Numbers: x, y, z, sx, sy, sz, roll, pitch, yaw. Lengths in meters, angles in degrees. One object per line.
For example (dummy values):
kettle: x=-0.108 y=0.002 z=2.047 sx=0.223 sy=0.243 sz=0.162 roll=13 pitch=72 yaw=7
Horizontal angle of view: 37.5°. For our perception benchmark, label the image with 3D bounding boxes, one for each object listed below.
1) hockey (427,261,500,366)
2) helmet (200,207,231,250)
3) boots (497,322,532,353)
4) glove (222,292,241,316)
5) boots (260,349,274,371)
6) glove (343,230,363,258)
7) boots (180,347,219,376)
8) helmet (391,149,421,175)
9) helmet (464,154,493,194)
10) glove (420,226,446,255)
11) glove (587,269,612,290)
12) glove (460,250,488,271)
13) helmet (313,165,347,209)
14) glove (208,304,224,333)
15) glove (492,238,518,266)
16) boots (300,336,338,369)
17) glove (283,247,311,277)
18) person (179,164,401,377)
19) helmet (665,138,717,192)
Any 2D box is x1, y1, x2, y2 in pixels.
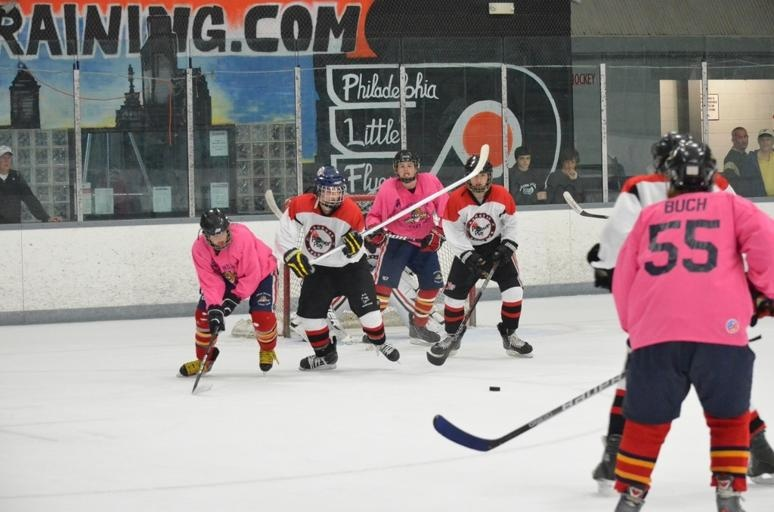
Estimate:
hockey: x=0.612 y=0.483 z=9.185 sx=0.180 sy=0.874 sz=0.144 roll=36 pitch=-22 yaw=4
helmet: x=-1.221 y=-0.184 z=8.220 sx=0.206 sy=0.292 sz=0.153 roll=-1 pitch=7 yaw=-10
boots: x=1.000 y=0.642 z=8.818 sx=0.292 sy=0.198 sz=0.107 roll=11 pitch=30 yaw=41
glove: x=-1.127 y=0.355 z=8.341 sx=0.106 sy=0.172 sz=0.066 roll=34 pitch=-5 yaw=-22
boots: x=-0.870 y=0.765 z=8.503 sx=0.079 sy=0.081 sz=0.176 roll=-2 pitch=41 yaw=-5
glove: x=-0.239 y=-0.079 z=8.396 sx=0.151 sy=0.194 sz=0.097 roll=0 pitch=7 yaw=-3
boots: x=-1.372 y=0.792 z=8.491 sx=0.270 sy=0.082 sz=0.123 roll=-24 pitch=-21 yaw=17
helmet: x=0.170 y=-0.726 z=9.073 sx=0.154 sy=0.184 sz=0.207 roll=-2 pitch=-20 yaw=2
helmet: x=0.677 y=-0.620 z=8.780 sx=0.212 sy=0.268 sz=0.276 roll=-4 pitch=-1 yaw=1
glove: x=0.389 y=-0.117 z=9.207 sx=0.188 sy=0.196 sz=0.076 roll=-40 pitch=23 yaw=-12
glove: x=1.328 y=0.145 z=7.068 sx=0.122 sy=0.116 sz=0.104 roll=-1 pitch=0 yaw=17
glove: x=0.699 y=0.030 z=8.777 sx=0.160 sy=0.150 sz=0.277 roll=5 pitch=8 yaw=34
helmet: x=-0.431 y=-0.521 z=8.420 sx=0.234 sy=0.272 sz=0.288 roll=-4 pitch=29 yaw=-17
glove: x=-1.212 y=0.452 z=8.188 sx=0.144 sy=0.184 sz=0.087 roll=5 pitch=-8 yaw=-6
glove: x=0.921 y=-0.027 z=8.765 sx=0.143 sy=0.198 sz=0.096 roll=12 pitch=2 yaw=-2
boots: x=-0.496 y=0.750 z=8.661 sx=0.363 sy=0.267 sz=0.140 roll=-4 pitch=5 yaw=-11
glove: x=-0.646 y=0.052 z=8.397 sx=0.199 sy=0.217 sz=0.188 roll=-1 pitch=7 yaw=-9
person: x=-0.755 y=0.138 z=9.059 sx=1.670 sy=1.509 sz=0.814 roll=-2 pitch=-3 yaw=-9
helmet: x=1.703 y=-0.503 z=6.427 sx=0.234 sy=0.262 sz=0.294 roll=2 pitch=-20 yaw=6
